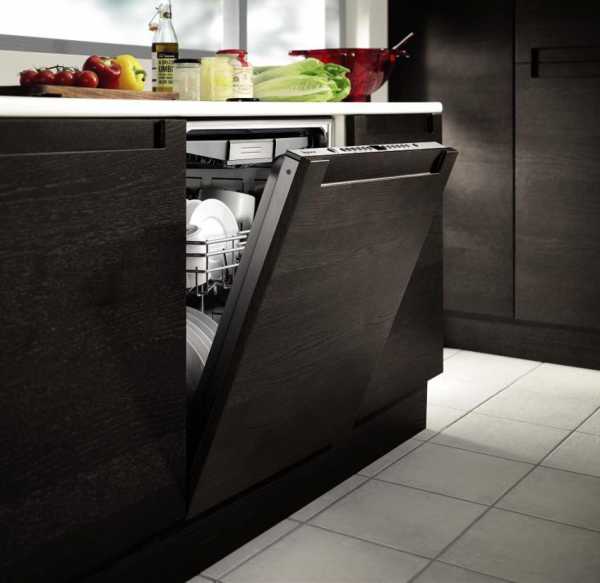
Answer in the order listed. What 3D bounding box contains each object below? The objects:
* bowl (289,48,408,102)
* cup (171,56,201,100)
[{"bbox_3d":[0.144,-0.865,2.120,0.398,0.211,0.431,4,19,-1],"label":"bowl"},{"bbox_3d":[-0.304,-0.563,1.398,0.071,0.103,0.051,-2,8,-9],"label":"cup"}]
